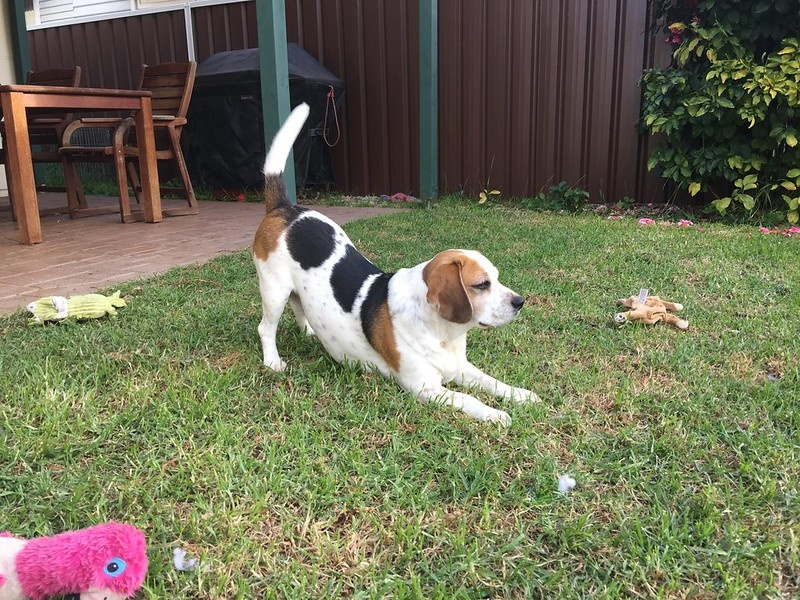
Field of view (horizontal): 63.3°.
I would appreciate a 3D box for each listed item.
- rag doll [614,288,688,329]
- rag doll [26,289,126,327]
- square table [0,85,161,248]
[{"bbox_3d":[1.424,0.062,3.702,0.288,0.104,0.265,0,23,5],"label":"rag doll"},{"bbox_3d":[-1.806,0.040,3.622,0.317,0.093,0.235,-2,11,-16],"label":"rag doll"},{"bbox_3d":[-2.790,-1.204,5.717,0.363,1.274,1.441,6,17,24],"label":"square table"}]
